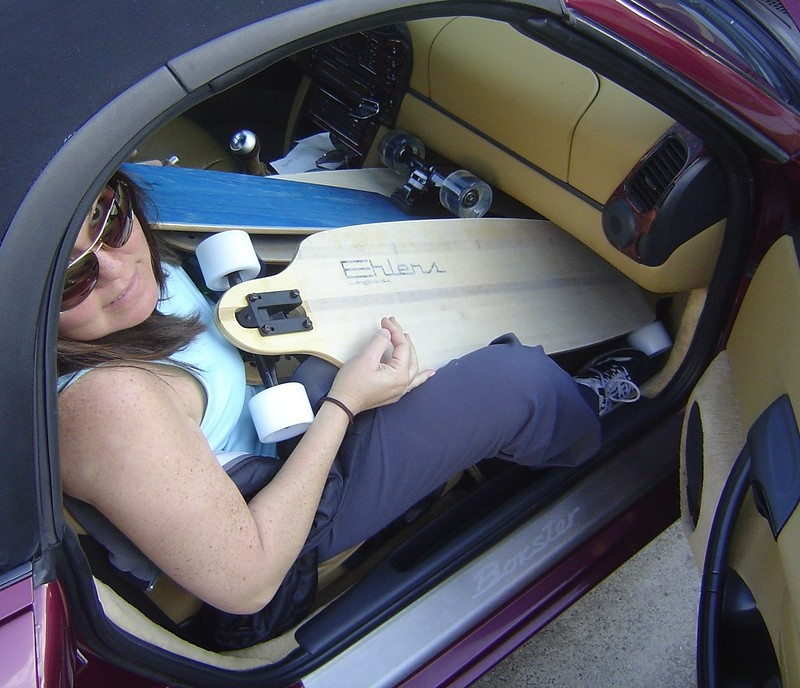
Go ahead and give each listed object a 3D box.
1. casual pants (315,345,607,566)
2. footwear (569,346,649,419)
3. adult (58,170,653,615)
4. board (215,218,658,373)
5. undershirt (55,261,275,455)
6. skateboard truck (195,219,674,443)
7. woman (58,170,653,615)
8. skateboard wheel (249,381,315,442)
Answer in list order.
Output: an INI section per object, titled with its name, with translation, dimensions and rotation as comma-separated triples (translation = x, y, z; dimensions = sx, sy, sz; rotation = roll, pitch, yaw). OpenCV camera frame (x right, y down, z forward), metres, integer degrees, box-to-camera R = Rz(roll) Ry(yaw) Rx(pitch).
[casual pants]
translation = 0.111, 0.209, 1.399
dimensions = 0.589, 0.183, 0.377
rotation = -38, 94, -14
[footwear]
translation = 0.579, 0.107, 1.706
dimensions = 0.246, 0.104, 0.087
rotation = 9, 13, -39
[adult]
translation = -0.126, 0.171, 1.423
dimensions = 1.158, 0.763, 0.558
rotation = -6, 59, -39
[board]
translation = 0.132, -0.115, 1.721
dimensions = 1.240, 0.179, 0.472
rotation = 0, 56, -36
[undershirt]
translation = -0.451, 0.041, 1.267
dimensions = 0.360, 0.122, 0.290
rotation = 29, 60, -21
[skateboard truck]
translation = 0.078, -0.062, 1.787
dimensions = 1.252, 0.205, 0.582
rotation = 0, 60, -39
[woman]
translation = -0.161, 0.080, 1.457
dimensions = 1.158, 0.763, 0.558
rotation = -6, 59, -39
[skateboard wheel]
translation = -0.231, 0.119, 1.262
dimensions = 0.112, 0.118, 0.076
rotation = -18, 59, -22
